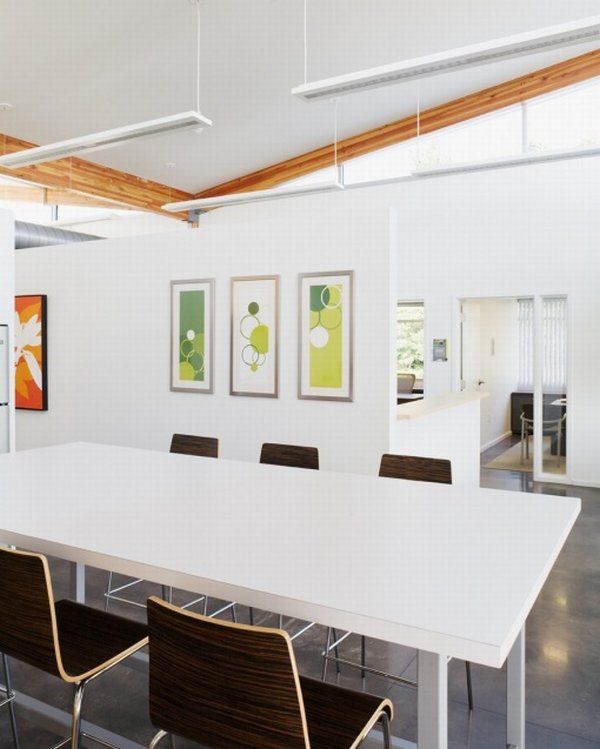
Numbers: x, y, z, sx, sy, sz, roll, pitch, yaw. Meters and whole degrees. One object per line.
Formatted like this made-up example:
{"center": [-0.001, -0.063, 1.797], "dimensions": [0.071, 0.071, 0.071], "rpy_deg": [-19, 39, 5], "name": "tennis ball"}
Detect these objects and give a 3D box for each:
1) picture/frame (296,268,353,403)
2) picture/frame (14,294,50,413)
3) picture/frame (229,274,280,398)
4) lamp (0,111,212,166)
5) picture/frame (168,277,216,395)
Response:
{"center": [0.189, -0.276, 4.842], "dimensions": [0.477, 0.903, 0.080], "rpy_deg": [4, 8, 41], "name": "picture/frame"}
{"center": [-2.675, -0.200, 6.573], "dimensions": [0.497, 1.132, 0.119], "rpy_deg": [2, 7, 31], "name": "picture/frame"}
{"center": [-0.351, -0.293, 5.220], "dimensions": [0.460, 0.920, 0.087], "rpy_deg": [3, 7, 39], "name": "picture/frame"}
{"center": [-1.105, -1.248, 3.621], "dimensions": [1.666, 0.079, 0.214], "rpy_deg": [2, 6, 35], "name": "lamp"}
{"center": [-0.904, -0.314, 5.570], "dimensions": [0.471, 0.922, 0.059], "rpy_deg": [2, 7, 33], "name": "picture/frame"}
